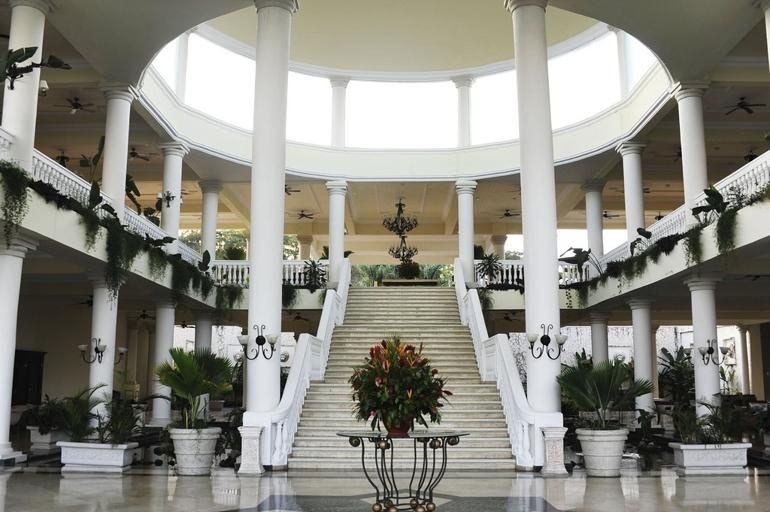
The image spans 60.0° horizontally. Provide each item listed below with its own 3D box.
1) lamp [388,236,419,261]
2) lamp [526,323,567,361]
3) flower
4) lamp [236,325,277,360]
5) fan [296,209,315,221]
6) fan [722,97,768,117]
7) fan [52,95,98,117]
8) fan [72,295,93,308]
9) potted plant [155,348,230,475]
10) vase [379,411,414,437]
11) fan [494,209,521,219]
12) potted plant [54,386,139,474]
[{"bbox_3d":[0.835,-0.299,29.483,1.198,1.585,1.295,1,-12,0],"label":"lamp"},{"bbox_3d":[3.728,2.033,15.597,0.793,0.842,0.272,0,0,4],"label":"lamp"},{"bbox_3d":[0.217,2.212,11.353,1.481,1.637,0.485,0,0,-3],"label":"flower"},{"bbox_3d":[-2.915,2.020,15.393,0.854,0.820,0.471,0,0,0],"label":"lamp"},{"bbox_3d":[-3.899,-2.023,32.824,0.849,0.444,1.931,0,0,-6],"label":"fan"},{"bbox_3d":[10.624,-4.410,19.631,0.776,0.297,0.827,-2,3,-16],"label":"fan"},{"bbox_3d":[-9.357,-4.487,20.290,1.136,0.499,2.042,0,0,-36],"label":"fan"},{"bbox_3d":[-10.758,1.636,23.806,0.533,0.617,3.112,0,0,-25],"label":"fan"},{"bbox_3d":[-4.613,3.512,16.013,1.483,2.878,3.248,0,0,-19],"label":"potted plant"},{"bbox_3d":[0.209,2.874,11.271,0.470,0.451,0.416,0,0,5],"label":"vase"},{"bbox_3d":[6.020,-2.042,32.287,1.022,0.330,1.695,0,0,9],"label":"fan"},{"bbox_3d":[-6.848,4.220,16.091,2.110,1.830,1.959,0,-13,-1],"label":"potted plant"}]
